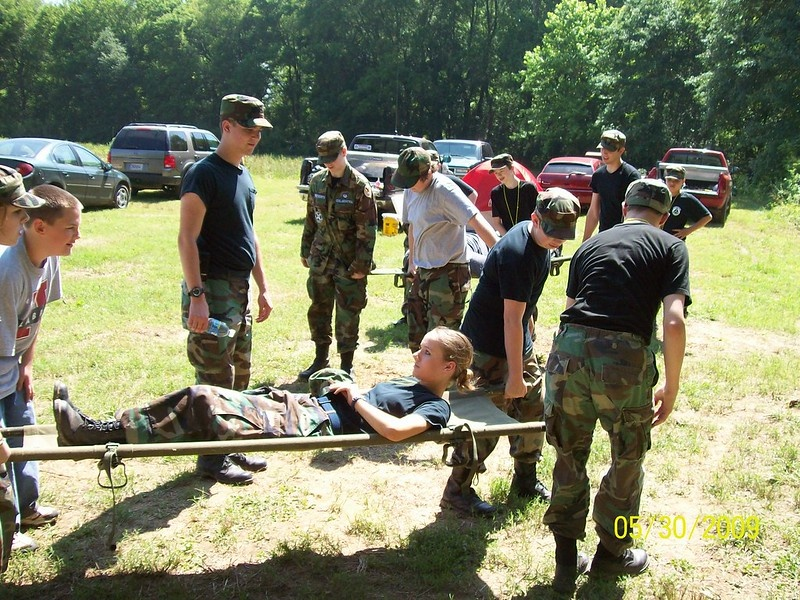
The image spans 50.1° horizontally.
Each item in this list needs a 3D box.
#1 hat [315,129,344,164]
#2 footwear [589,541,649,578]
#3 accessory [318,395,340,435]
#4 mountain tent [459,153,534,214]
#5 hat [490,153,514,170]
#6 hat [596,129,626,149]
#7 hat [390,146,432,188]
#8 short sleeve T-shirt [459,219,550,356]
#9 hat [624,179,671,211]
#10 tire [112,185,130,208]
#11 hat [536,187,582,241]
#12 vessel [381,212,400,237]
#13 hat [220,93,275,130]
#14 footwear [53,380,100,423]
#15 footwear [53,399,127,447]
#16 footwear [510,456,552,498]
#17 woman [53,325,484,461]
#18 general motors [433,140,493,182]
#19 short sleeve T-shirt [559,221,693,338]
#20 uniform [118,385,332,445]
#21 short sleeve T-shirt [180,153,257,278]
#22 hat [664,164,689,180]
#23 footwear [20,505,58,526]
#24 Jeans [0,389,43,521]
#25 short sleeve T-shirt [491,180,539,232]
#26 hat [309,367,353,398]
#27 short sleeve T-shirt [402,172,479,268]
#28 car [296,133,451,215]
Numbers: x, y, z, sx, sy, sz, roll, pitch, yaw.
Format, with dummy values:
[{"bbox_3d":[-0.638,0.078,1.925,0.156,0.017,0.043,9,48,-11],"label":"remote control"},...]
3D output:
[{"bbox_3d":[-0.683,-1.515,8.296,0.230,0.333,0.173,-1,-23,11],"label":"hat"},{"bbox_3d":[1.588,1.910,6.232,0.349,0.251,0.151,-9,37,-13],"label":"footwear"},{"bbox_3d":[-0.523,0.865,6.411,0.087,0.258,0.147,-29,-27,23],"label":"accessory"},{"bbox_3d":[1.514,-2.045,13.351,0.973,0.433,1.007,-19,21,9],"label":"mountain tent"},{"bbox_3d":[1.138,-1.560,9.614,0.217,0.118,0.164,2,15,4],"label":"hat"},{"bbox_3d":[2.417,-1.838,9.758,0.263,0.190,0.476,8,14,11],"label":"hat"},{"bbox_3d":[0.087,-1.193,7.578,0.313,0.271,0.475,16,36,35],"label":"hat"},{"bbox_3d":[0.809,-0.114,6.938,0.628,1.142,1.028,15,24,0],"label":"short sleeve T-shirt"},{"bbox_3d":[1.810,-0.767,6.239,0.216,0.157,0.304,8,21,16],"label":"hat"},{"bbox_3d":[-5.481,-2.026,16.661,0.164,0.464,0.451,6,4,15],"label":"tire"},{"bbox_3d":[1.183,-0.673,6.369,0.329,0.255,0.504,4,37,-10],"label":"hat"},{"bbox_3d":[-0.110,-0.841,9.405,0.225,0.247,0.231,0,1,-3],"label":"vessel"},{"bbox_3d":[-1.259,-1.517,6.921,0.353,0.198,0.272,7,29,-3],"label":"hat"},{"bbox_3d":[-2.343,0.689,6.143,0.291,0.364,0.455,0,14,-21],"label":"footwear"},{"bbox_3d":[-2.191,0.788,5.998,0.500,0.346,0.180,-27,-12,24],"label":"footwear"},{"bbox_3d":[1.030,1.459,7.047,0.398,0.405,0.197,-1,10,-2],"label":"footwear"},{"bbox_3d":[-0.923,0.746,6.315,3.052,0.961,1.091,1,-2,-20],"label":"woman"},{"bbox_3d":[1.461,-3.495,21.082,1.231,1.151,2.540,5,22,12],"label":"general motors"},{"bbox_3d":[1.612,-0.129,6.222,0.921,0.898,0.514,6,-10,34],"label":"short sleeve T-shirt"},{"bbox_3d":[-1.322,0.852,6.193,0.998,0.302,0.616,-1,-4,-13],"label":"uniform"},{"bbox_3d":[-1.479,-0.652,6.916,0.460,0.940,0.922,5,11,15],"label":"short sleeve T-shirt"},{"bbox_3d":[3.237,-1.519,10.007,0.199,0.102,0.303,8,21,31],"label":"hat"},{"bbox_3d":[-2.731,1.644,6.508,0.299,0.140,0.112,-7,38,-35],"label":"footwear"},{"bbox_3d":[-2.777,1.130,6.259,0.186,0.828,0.403,-6,10,-27],"label":"Jeans"},{"bbox_3d":[1.313,-1.037,9.971,0.620,0.680,0.344,-1,-5,12],"label":"short sleeve T-shirt"},{"bbox_3d":[-0.560,0.630,6.615,0.219,0.286,0.251,32,-15,-2],"label":"hat"},{"bbox_3d":[0.353,-0.719,7.820,0.420,0.818,0.910,-15,14,-35],"label":"short sleeve T-shirt"},{"bbox_3d":[-0.344,-2.324,16.831,1.610,1.181,3.062,13,30,24],"label":"car"}]
